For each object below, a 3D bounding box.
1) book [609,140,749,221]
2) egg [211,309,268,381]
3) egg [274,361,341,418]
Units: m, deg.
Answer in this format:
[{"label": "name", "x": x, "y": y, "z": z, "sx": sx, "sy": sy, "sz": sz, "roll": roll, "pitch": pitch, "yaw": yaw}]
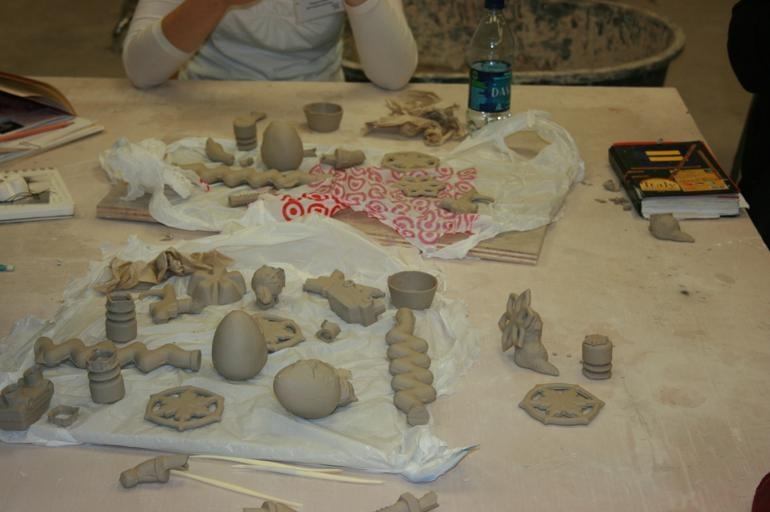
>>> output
[{"label": "book", "x": 0.902, "y": -0.204, "z": 2.150, "sx": 0.296, "sy": 0.074, "sz": 0.284, "roll": -3, "pitch": 41, "yaw": -2}, {"label": "egg", "x": -0.314, "y": 0.195, "z": 1.615, "sx": 0.146, "sy": 0.199, "sz": 0.144, "roll": -4, "pitch": 29, "yaw": -10}, {"label": "egg", "x": -0.171, "y": 0.290, "z": 1.547, "sx": 0.143, "sy": 0.090, "sz": 0.132, "roll": -10, "pitch": 18, "yaw": -4}]
